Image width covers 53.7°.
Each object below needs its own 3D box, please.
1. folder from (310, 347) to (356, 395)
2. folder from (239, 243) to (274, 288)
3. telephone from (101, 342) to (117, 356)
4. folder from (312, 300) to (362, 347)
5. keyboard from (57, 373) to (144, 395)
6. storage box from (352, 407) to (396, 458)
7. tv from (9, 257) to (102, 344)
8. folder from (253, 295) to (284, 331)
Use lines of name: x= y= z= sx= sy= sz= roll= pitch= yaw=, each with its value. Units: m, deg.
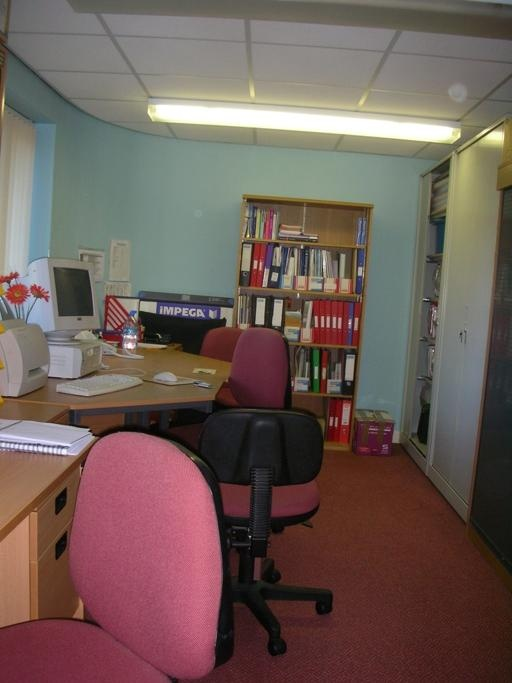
folder: x=0.660 y=0.243 z=4.565 sx=0.343 sy=0.500 sz=0.486 roll=4 pitch=13 yaw=-4
folder: x=0.039 y=-0.703 z=4.456 sx=0.321 sy=0.500 sz=0.351 roll=4 pitch=14 yaw=2
telephone: x=-0.907 y=0.042 z=3.112 sx=0.073 sy=0.055 sz=0.134 roll=3 pitch=2 yaw=3
folder: x=0.691 y=-0.163 z=4.385 sx=0.424 sy=0.382 sz=0.085 roll=4 pitch=4 yaw=3
keyboard: x=-0.675 y=0.185 z=2.211 sx=0.224 sy=0.038 sz=0.419 roll=5 pitch=5 yaw=19
storage box: x=1.038 y=0.790 z=4.452 sx=0.321 sy=0.341 sz=0.335 roll=1 pitch=2 yaw=10
tv: x=-0.935 y=-0.228 z=2.557 sx=0.329 sy=0.556 sz=0.574 roll=1 pitch=5 yaw=7
folder: x=0.120 y=-0.252 z=4.504 sx=0.239 sy=0.344 sz=0.340 roll=2 pitch=6 yaw=9
